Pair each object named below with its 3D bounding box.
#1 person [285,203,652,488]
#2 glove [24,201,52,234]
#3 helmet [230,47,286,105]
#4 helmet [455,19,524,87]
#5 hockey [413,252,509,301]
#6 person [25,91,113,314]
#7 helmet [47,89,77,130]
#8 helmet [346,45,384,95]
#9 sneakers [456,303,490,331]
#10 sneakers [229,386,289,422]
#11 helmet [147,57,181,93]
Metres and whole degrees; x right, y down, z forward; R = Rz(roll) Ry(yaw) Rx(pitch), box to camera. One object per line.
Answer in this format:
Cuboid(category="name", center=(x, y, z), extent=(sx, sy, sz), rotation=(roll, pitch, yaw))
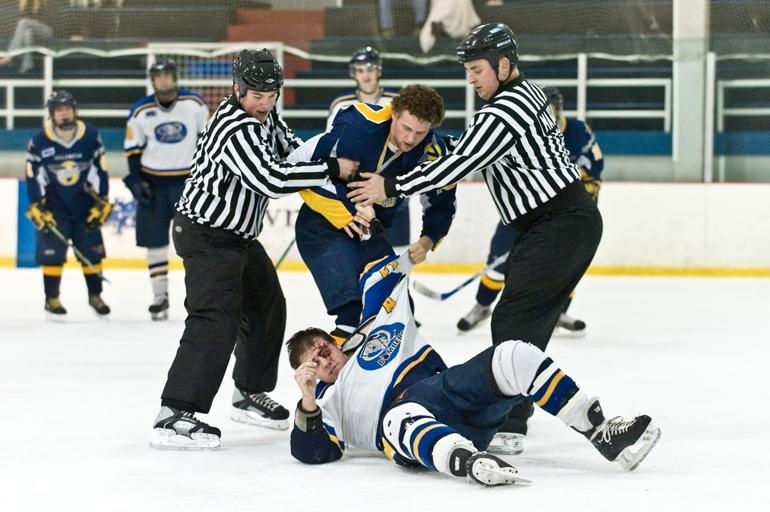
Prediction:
Cuboid(category="person", center=(0.265, 0.665, 4.643), extent=(1.296, 0.623, 0.951), rotation=(10, 28, 32))
Cuboid(category="glove", center=(-2.251, -0.265, 6.504), extent=(0.131, 0.173, 0.185), rotation=(-42, 13, 8))
Cuboid(category="helmet", center=(-0.690, -0.934, 5.133), extent=(0.226, 0.284, 0.250), rotation=(-17, 43, -32))
Cuboid(category="helmet", center=(0.534, -1.076, 5.244), extent=(0.334, 0.330, 0.275), rotation=(-7, 14, -4))
Cuboid(category="hockey", center=(0.511, 0.234, 7.969), extent=(0.269, 0.248, 1.364), rotation=(24, -21, -10))
Cuboid(category="person", center=(-2.167, -0.331, 6.774), extent=(0.451, 1.566, 1.309), rotation=(-1, 10, -2))
Cuboid(category="helmet", center=(-2.093, -0.951, 6.485), extent=(0.171, 0.254, 0.175), rotation=(1, 10, 8))
Cuboid(category="helmet", center=(-0.149, -1.546, 8.460), extent=(0.320, 0.506, 0.417), rotation=(-8, 1, -1))
Cuboid(category="sneakers", center=(0.692, 0.473, 7.753), extent=(0.224, 0.096, 0.075), rotation=(-35, 41, -8))
Cuboid(category="sneakers", center=(-0.687, 0.811, 5.480), extent=(0.326, 0.215, 0.144), rotation=(1, -3, 5))
Cuboid(category="helmet", center=(-1.767, -1.456, 7.952), extent=(0.198, 0.243, 0.258), rotation=(-12, -11, -15))
